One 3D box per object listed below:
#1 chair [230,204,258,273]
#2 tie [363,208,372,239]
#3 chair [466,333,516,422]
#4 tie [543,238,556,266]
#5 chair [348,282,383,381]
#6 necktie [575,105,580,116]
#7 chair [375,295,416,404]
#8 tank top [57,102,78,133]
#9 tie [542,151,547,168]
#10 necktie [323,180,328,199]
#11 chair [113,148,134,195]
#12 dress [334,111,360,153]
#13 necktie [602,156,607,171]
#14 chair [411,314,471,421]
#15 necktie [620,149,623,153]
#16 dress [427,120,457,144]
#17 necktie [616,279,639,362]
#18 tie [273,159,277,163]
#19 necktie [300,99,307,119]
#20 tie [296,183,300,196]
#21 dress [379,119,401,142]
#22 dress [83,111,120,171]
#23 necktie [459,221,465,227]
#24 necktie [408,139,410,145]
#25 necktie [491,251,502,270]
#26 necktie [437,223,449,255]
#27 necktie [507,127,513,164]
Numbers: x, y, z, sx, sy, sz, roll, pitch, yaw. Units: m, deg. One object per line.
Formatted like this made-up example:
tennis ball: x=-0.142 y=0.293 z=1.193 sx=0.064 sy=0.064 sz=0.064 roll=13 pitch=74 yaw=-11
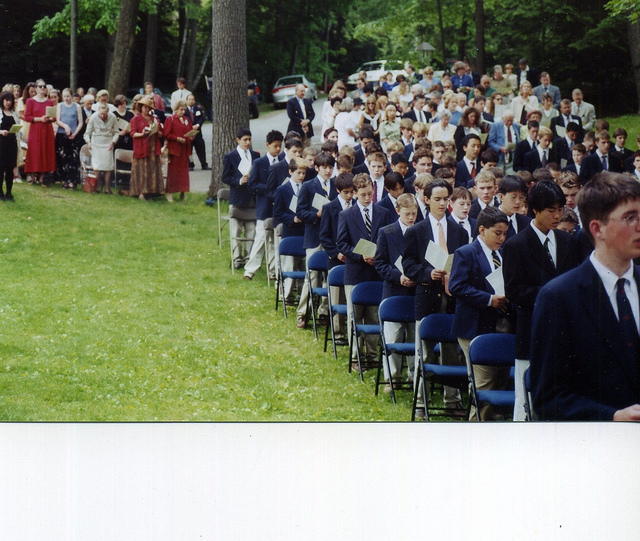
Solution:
chair: x=-0.936 y=-0.382 z=17.710 sx=0.340 sy=0.712 sz=0.375 roll=-10 pitch=0 yaw=15
tie: x=0.510 y=-0.506 z=15.097 sx=0.044 sy=0.348 sz=0.046 roll=12 pitch=-22 yaw=-34
chair: x=1.604 y=0.956 z=13.308 sx=0.581 sy=0.996 sz=0.711 roll=0 pitch=2 yaw=-5
tie: x=2.114 y=-0.167 z=13.065 sx=0.039 sy=0.262 sz=0.030 roll=-9 pitch=-4 yaw=1
chair: x=0.461 y=0.671 z=14.859 sx=0.341 sy=1.028 sz=0.342 roll=-3 pitch=14 yaw=-18
necktie: x=3.301 y=-2.061 z=18.226 sx=0.052 sy=0.107 sz=0.041 roll=3 pitch=-1 yaw=-7
chair: x=0.719 y=0.825 z=14.341 sx=0.408 sy=1.076 sz=0.429 roll=1 pitch=11 yaw=-3
tank top: x=-3.315 y=-2.005 z=18.612 sx=0.234 sy=0.365 sz=0.353 roll=3 pitch=-1 yaw=-10
tie: x=2.780 y=-1.388 z=17.606 sx=0.040 sy=0.165 sz=0.186 roll=2 pitch=0 yaw=6
necktie: x=0.049 y=-0.921 z=16.187 sx=0.029 sy=0.225 sz=0.024 roll=3 pitch=-18 yaw=-6
chair: x=-2.542 y=-1.263 z=18.611 sx=0.325 sy=0.574 sz=0.388 roll=4 pitch=14 yaw=-26
dress: x=0.315 y=-1.942 z=19.528 sx=0.282 sy=0.469 sz=0.578 roll=3 pitch=-1 yaw=-36
necktie: x=3.365 y=-1.276 z=16.789 sx=0.057 sy=0.126 sz=0.107 roll=2 pitch=-1 yaw=12
chair: x=1.142 y=0.906 z=13.768 sx=0.520 sy=1.028 sz=0.520 roll=0 pitch=12 yaw=-5
necktie: x=3.632 y=-1.437 z=17.116 sx=0.042 sy=0.044 sz=0.010 roll=-1 pitch=5 yaw=1
dress: x=1.605 y=-1.828 z=18.697 sx=0.369 sy=0.265 sz=0.393 roll=3 pitch=0 yaw=16
necktie: x=2.471 y=0.369 z=11.442 sx=0.105 sy=0.842 sz=0.113 roll=-11 pitch=-11 yaw=-3
tie: x=-0.558 y=-1.335 z=17.328 sx=0.043 sy=0.036 sz=0.102 roll=3 pitch=0 yaw=-10
necktie: x=-0.261 y=-2.376 z=20.895 sx=0.061 sy=0.251 sz=0.162 roll=2 pitch=-1 yaw=42
tie: x=-0.265 y=-0.940 z=16.551 sx=0.028 sy=0.140 sz=0.024 roll=0 pitch=-11 yaw=-3
dress: x=0.922 y=-1.873 z=18.965 sx=0.279 sy=0.266 sz=0.509 roll=3 pitch=0 yaw=2
dress: x=-2.906 y=-1.648 z=18.846 sx=0.455 sy=1.139 sz=0.314 roll=-5 pitch=26 yaw=-17
necktie: x=1.422 y=-0.466 z=14.319 sx=0.042 sy=0.064 sz=0.020 roll=-1 pitch=3 yaw=-5
necktie: x=1.108 y=-1.618 z=17.901 sx=0.035 sy=0.070 sz=0.038 roll=2 pitch=-3 yaw=-8
necktie: x=1.672 y=-0.096 z=13.502 sx=0.088 sy=0.143 sz=0.046 roll=3 pitch=-1 yaw=-20
necktie: x=1.224 y=-0.314 z=14.115 sx=0.054 sy=0.424 sz=0.053 roll=-7 pitch=0 yaw=-4
necktie: x=2.512 y=-1.651 z=18.784 sx=0.076 sy=0.401 sz=0.102 roll=3 pitch=-1 yaw=-12
